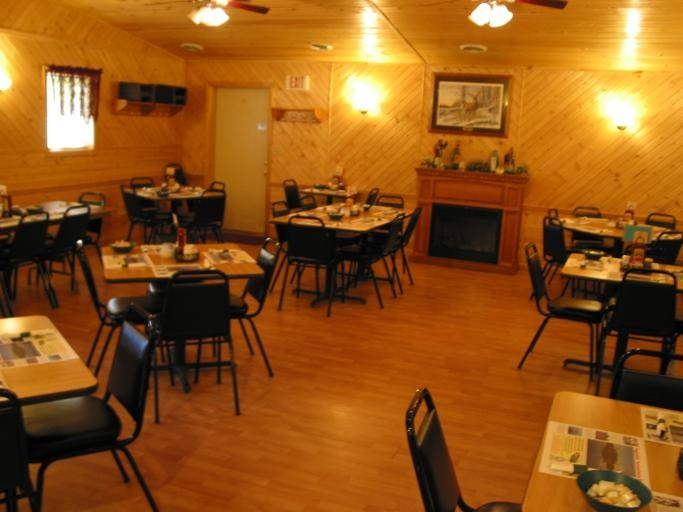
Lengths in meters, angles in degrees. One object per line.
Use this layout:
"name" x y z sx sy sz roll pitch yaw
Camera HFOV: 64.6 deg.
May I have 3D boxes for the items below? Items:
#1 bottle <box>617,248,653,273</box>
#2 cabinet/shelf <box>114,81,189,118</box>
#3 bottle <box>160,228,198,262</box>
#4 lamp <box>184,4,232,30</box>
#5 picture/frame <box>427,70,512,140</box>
"bottle" 2.543 0.038 4.679 0.275 0.228 0.260 1 9 19
"cabinet/shelf" -3.058 -2.487 8.597 0.391 0.459 1.245 12 17 25
"bottle" -1.312 -0.087 4.363 0.321 0.219 0.301 4 11 -1
"lamp" -1.242 -2.261 4.995 0.261 0.208 0.345 -4 12 -26
"picture/frame" 1.941 -2.287 8.033 1.209 0.851 0.088 7 10 18
